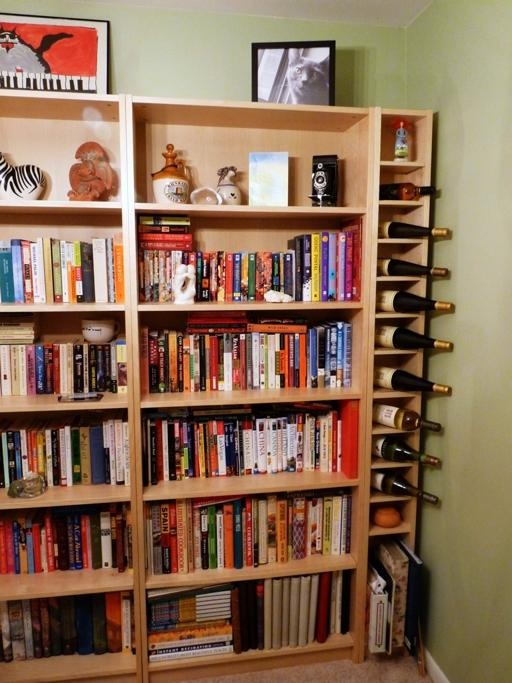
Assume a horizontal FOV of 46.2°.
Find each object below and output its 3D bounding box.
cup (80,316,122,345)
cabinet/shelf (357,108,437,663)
[{"bbox_3d":[-0.529,-0.037,2.034,0.103,0.074,0.082,1,-4,-38],"label":"cup"},{"bbox_3d":[0.510,-0.131,2.204,0.259,1.529,0.213,1,15,15],"label":"cabinet/shelf"}]
